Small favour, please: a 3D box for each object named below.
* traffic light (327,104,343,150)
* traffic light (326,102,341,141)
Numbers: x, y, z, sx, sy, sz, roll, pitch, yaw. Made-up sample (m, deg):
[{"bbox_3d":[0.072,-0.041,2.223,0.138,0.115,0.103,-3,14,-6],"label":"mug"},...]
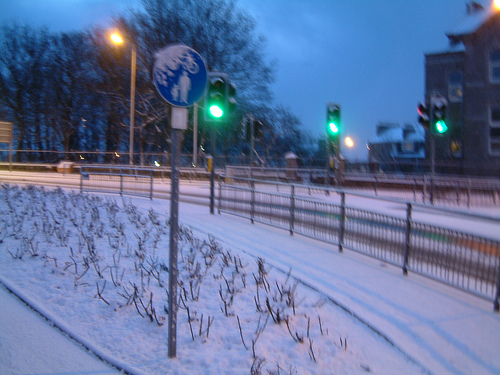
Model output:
[{"bbox_3d":[2.924,-2.074,19.143,0.448,0.218,2.538,5,54,2],"label":"traffic light"},{"bbox_3d":[2.983,-2.239,19.518,0.681,0.236,2.154,21,-32,24],"label":"traffic light"}]
